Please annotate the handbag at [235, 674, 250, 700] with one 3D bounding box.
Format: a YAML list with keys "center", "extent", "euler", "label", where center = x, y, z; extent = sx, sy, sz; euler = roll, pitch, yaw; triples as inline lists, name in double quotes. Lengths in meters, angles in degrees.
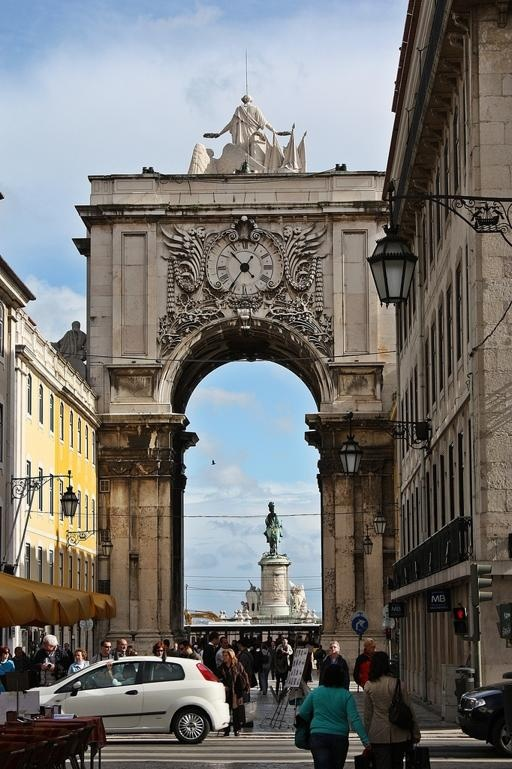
- center: [-0.270, 5.486, 31.857]
  extent: [0.167, 0.408, 0.754]
  euler: [-3, -17, 7]
  label: "handbag"

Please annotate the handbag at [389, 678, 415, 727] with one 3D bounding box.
- center: [1.459, 3.260, 17.853]
  extent: [0.281, 0.524, 0.202]
  euler: [5, -15, -26]
  label: "handbag"

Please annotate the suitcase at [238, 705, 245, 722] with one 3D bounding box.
- center: [-0.269, 5.880, 31.359]
  extent: [0.134, 0.266, 0.382]
  euler: [-1, -16, -1]
  label: "suitcase"

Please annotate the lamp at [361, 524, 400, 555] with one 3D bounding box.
- center: [4.916, 6.247, 70.257]
  extent: [1.709, 1.907, 0.640]
  euler: [8, -14, -33]
  label: "lamp"
